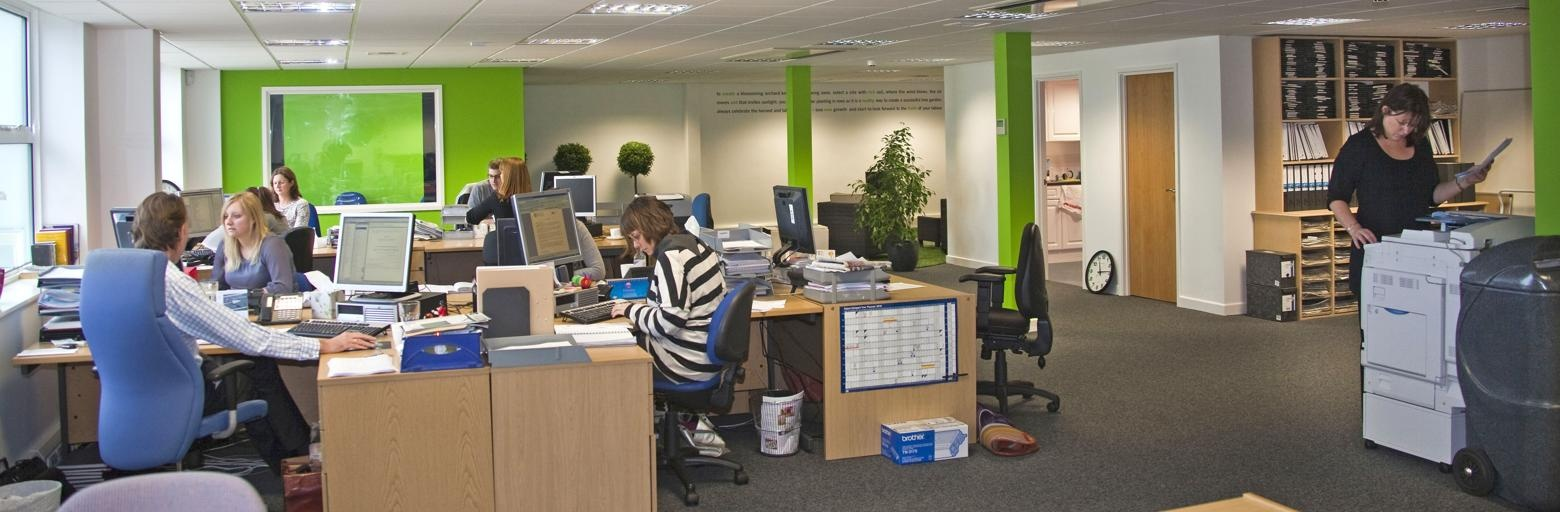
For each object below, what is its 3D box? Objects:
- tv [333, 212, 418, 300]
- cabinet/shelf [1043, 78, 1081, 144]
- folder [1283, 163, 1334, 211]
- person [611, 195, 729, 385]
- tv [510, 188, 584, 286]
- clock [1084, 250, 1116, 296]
[{"bbox_3d":[-6.525,0.026,14.491,1.209,1.319,0.733,3,-2,0],"label":"tv"},{"bbox_3d":[6.973,-3.584,21.821,0.863,1.424,0.244,-6,11,-15],"label":"cabinet/shelf"},{"bbox_3d":[10.514,-1.348,17.640,1.222,1.013,1.397,-2,-8,28],"label":"folder"},{"bbox_3d":[-1.714,0.526,13.828,1.328,2.891,1.076,6,14,43],"label":"person"},{"bbox_3d":[-3.939,-0.365,15.061,1.029,1.419,0.988,1,1,-5],"label":"tv"},{"bbox_3d":[6.984,0.363,19.337,0.652,0.906,0.287,5,14,42],"label":"clock"}]
